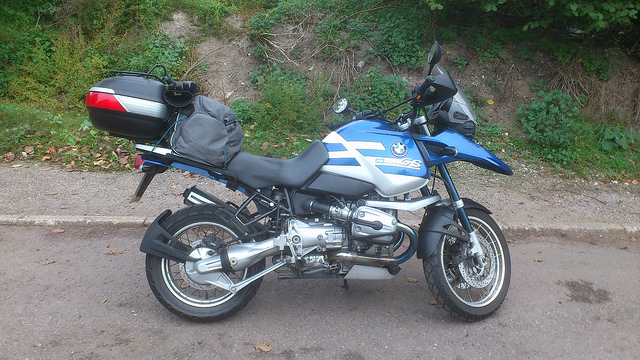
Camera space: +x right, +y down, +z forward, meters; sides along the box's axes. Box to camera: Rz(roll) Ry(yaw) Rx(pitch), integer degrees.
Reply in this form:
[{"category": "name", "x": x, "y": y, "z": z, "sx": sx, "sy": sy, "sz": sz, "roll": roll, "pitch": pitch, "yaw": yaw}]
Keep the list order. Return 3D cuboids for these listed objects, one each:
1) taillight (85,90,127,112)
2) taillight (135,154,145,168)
[{"category": "taillight", "x": -3.696, "y": -1.346, "z": 9.129, "sx": 0.505, "sy": 0.178, "sz": 0.372, "roll": 11, "pitch": -1, "yaw": -26}, {"category": "taillight", "x": -3.144, "y": -0.321, "z": 9.295, "sx": 0.142, "sy": 0.267, "sz": 0.254, "roll": -2, "pitch": 45, "yaw": -24}]
